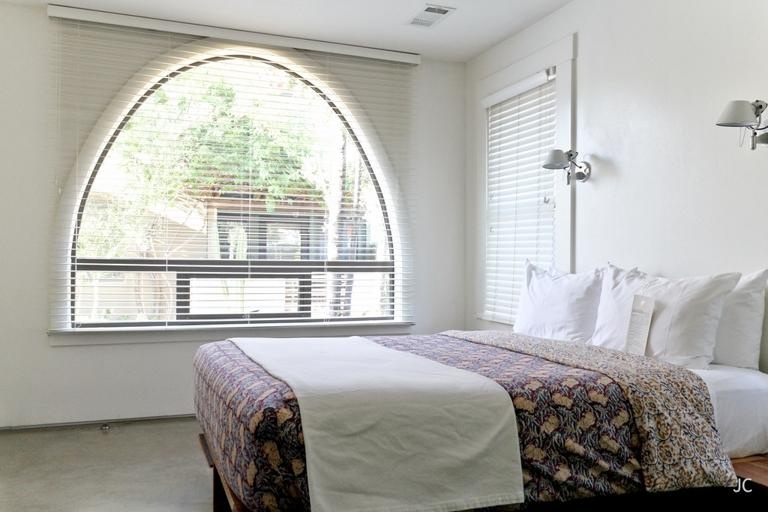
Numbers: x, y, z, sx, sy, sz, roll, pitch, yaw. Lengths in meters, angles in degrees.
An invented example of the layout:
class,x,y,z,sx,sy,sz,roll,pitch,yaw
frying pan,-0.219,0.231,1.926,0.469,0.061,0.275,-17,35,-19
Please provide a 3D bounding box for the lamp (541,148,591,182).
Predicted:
class,x,y,z,sx,sy,sz,roll,pitch,yaw
lamp,1.441,-0.701,4.350,0.385,0.248,0.174,4,1,-20

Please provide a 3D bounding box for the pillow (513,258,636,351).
class,x,y,z,sx,sy,sz,roll,pitch,yaw
pillow,1.349,0.346,3.851,0.157,0.376,0.597,28,-16,-27
